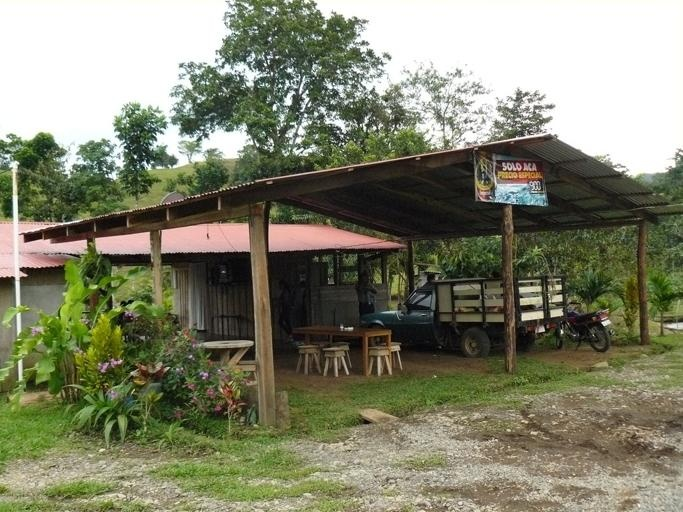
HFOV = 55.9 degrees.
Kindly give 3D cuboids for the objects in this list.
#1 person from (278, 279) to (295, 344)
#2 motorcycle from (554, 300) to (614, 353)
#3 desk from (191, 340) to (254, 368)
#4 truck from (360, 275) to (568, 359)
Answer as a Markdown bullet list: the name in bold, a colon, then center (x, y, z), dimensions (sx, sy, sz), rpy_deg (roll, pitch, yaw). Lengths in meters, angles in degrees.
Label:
- **person**: center (-1.600, 1.499, 18.339), dimensions (0.425, 1.701, 0.655), rpy_deg (-2, 5, -7)
- **motorcycle**: center (5.833, 1.734, 15.344), dimensions (0.880, 0.935, 1.562), rpy_deg (-6, 0, -27)
- **desk**: center (-2.154, 1.691, 11.616), dimensions (1.085, 0.475, 1.030), rpy_deg (-1, -3, -14)
- **truck**: center (2.799, 1.348, 15.347), dimensions (3.676, 1.310, 2.066), rpy_deg (-1, -2, 44)
